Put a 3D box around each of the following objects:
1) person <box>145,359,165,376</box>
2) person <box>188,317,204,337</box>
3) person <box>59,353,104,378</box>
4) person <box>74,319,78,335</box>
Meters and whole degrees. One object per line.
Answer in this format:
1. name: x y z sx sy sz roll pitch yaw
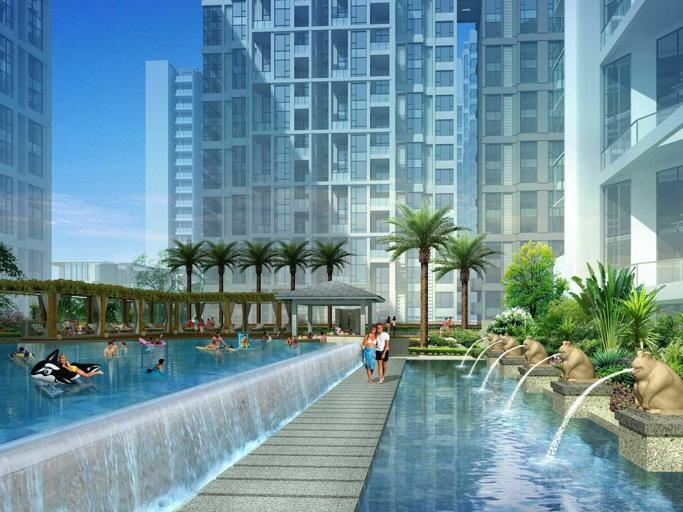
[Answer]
1. person: -7.465 4.478 24.023 0.609 0.526 0.984 -4 -3 -14
2. person: -12.793 6.741 52.455 1.158 2.093 0.920 9 16 17
3. person: -9.487 4.064 21.657 1.071 0.985 2.294 -4 -3 -4
4. person: -19.342 5.321 43.644 0.252 0.895 0.823 -3 -3 -21
